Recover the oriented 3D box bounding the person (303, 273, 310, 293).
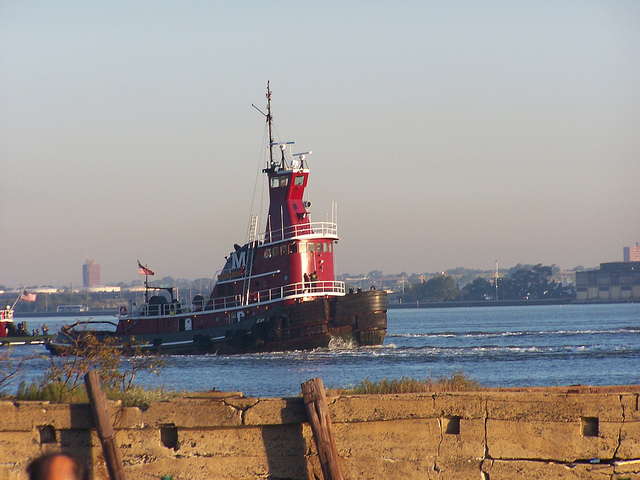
[{"bbox_3d":[-0.628,2.567,92.659,0.400,1.126,0.220,-2,-3,0],"label":"person"}]

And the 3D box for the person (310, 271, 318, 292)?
[{"bbox_3d":[-0.163,2.536,92.786,0.507,1.198,0.360,-2,-4,-12],"label":"person"}]

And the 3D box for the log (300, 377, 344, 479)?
[{"bbox_3d":[0.201,7.147,58.650,1.343,3.822,0.411,-2,-3,0],"label":"log"}]

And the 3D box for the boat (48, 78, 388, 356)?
[{"bbox_3d":[-6.161,0.031,99.659,26.685,18.001,8.697,-9,-11,40],"label":"boat"}]
